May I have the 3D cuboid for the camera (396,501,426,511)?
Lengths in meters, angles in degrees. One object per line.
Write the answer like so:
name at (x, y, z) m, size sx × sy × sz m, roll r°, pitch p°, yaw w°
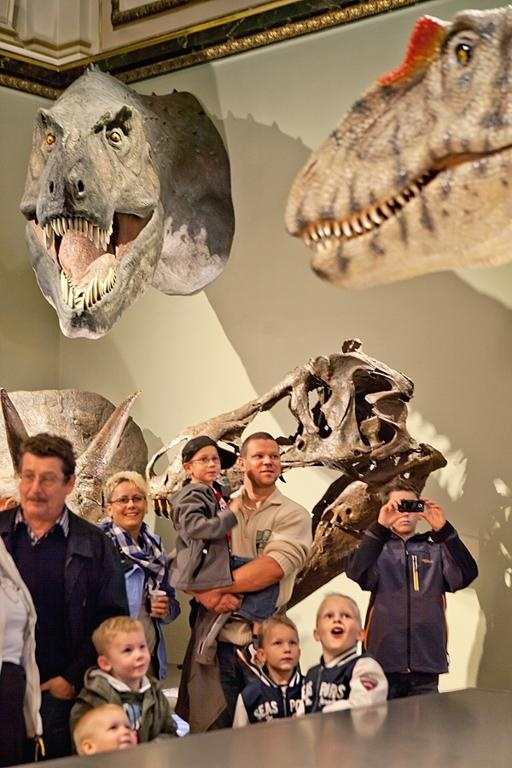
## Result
camera at (0.555, 0.427, 2.379) m, size 0.079 × 0.040 × 0.024 m, roll -1°, pitch 7°, yaw -2°

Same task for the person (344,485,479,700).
person at (0.575, 0.898, 2.502) m, size 0.435 × 0.885 × 0.290 m, roll 2°, pitch 19°, yaw 12°

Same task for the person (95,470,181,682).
person at (-0.411, 0.749, 2.543) m, size 0.313 × 0.834 × 0.292 m, roll -8°, pitch 22°, yaw 0°

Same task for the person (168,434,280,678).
person at (-0.100, 0.557, 2.269) m, size 0.400 × 0.725 × 0.352 m, roll -2°, pitch -7°, yaw 2°
